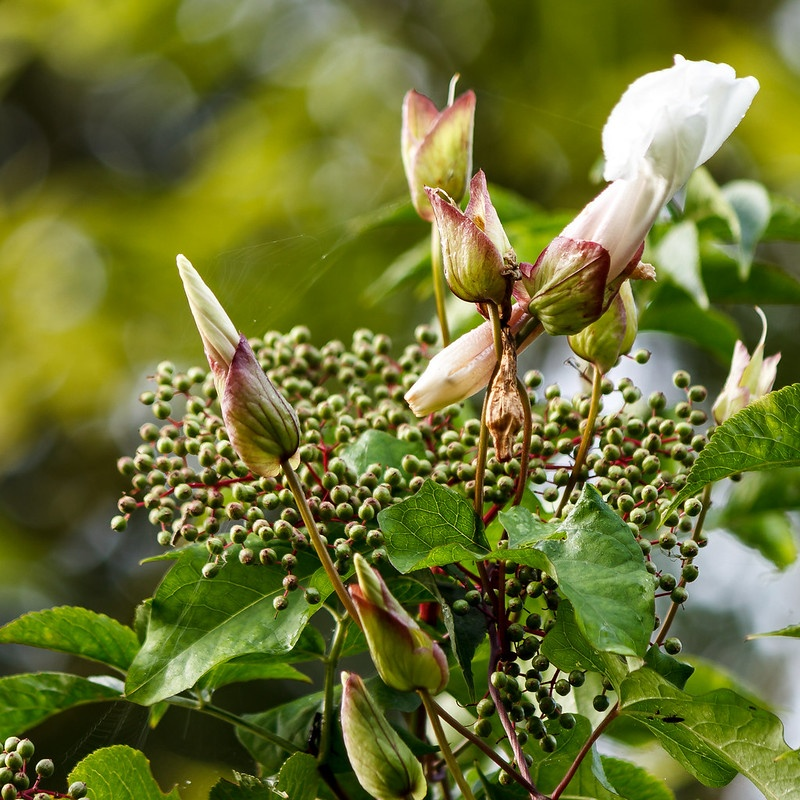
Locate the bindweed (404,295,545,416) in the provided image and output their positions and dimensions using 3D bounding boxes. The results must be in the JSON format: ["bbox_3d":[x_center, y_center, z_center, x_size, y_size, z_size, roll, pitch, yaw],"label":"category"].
[{"bbox_3d":[0.061,-0.026,1.348,0.074,0.126,0.071,0,10,-15],"label":"bindweed"}]

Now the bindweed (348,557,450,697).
[{"bbox_3d":[-0.003,0.195,1.259,0.061,0.122,0.068,0,15,-33],"label":"bindweed"}]

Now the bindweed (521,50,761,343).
[{"bbox_3d":[0.226,-0.204,1.386,0.149,0.264,0.171,2,14,6],"label":"bindweed"}]

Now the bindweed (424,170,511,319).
[{"bbox_3d":[0.064,-0.130,1.320,0.061,0.114,0.082,-17,33,2],"label":"bindweed"}]
